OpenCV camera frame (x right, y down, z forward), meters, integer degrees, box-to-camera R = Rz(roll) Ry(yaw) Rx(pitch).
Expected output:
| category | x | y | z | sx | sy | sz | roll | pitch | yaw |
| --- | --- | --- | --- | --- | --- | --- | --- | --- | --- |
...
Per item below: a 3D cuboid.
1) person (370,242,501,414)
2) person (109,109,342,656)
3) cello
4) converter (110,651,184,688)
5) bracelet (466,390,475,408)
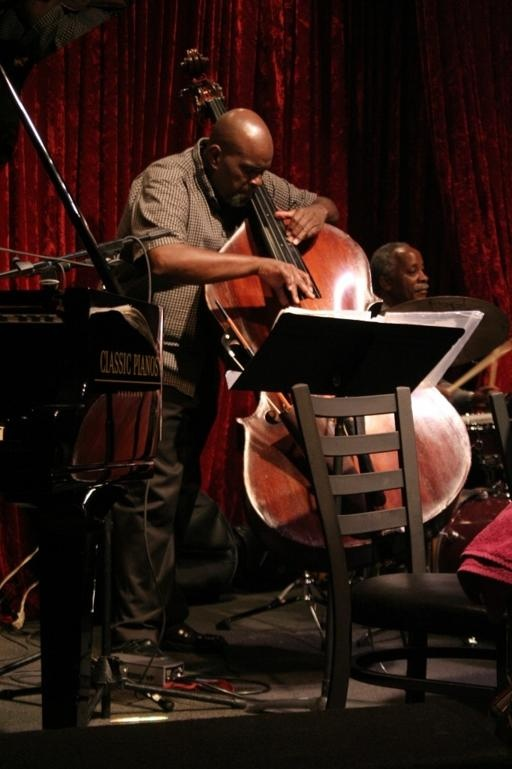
| category | x | y | z | sx | sy | sz | roll | pitch | yaw |
| --- | --- | --- | --- | --- | --- | --- | --- | --- | --- |
| person | 0.714 | -0.263 | 3.146 | 0.772 | 0.648 | 0.206 | -2 | 18 | -16 |
| person | -0.164 | -0.053 | 2.252 | 0.634 | 1.574 | 0.573 | -1 | 12 | -33 |
| cello | 0.045 | -0.200 | 2.070 | 0.587 | 1.328 | 0.204 | -11 | -19 | -27 |
| converter | -0.239 | 0.608 | 1.717 | 0.134 | 0.044 | 0.089 | 2 | -9 | 21 |
| bracelet | 0.805 | 0.049 | 2.942 | 0.029 | 0.049 | 0.014 | -5 | 13 | -20 |
